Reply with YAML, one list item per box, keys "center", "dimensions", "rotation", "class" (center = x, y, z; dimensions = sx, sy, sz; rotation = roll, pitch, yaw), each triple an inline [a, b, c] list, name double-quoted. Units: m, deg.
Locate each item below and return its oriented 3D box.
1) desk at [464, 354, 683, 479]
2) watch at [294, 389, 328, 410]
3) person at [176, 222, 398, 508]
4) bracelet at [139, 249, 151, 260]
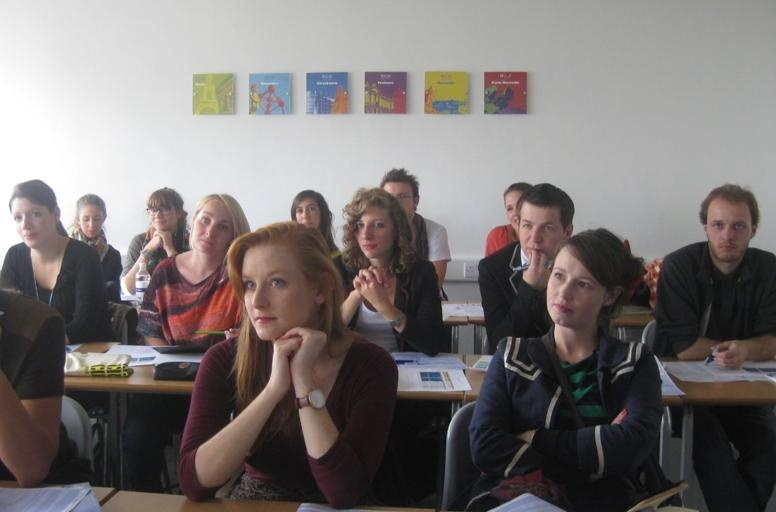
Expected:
- center: [0.696, 0.705, 2.513]
  dimensions: [0.829, 0.778, 0.485]
  rotation: [-1, -26, 9]
  class: "desk"
- center: [-0.266, 0.505, 2.059]
  dimensions: [0.088, 0.058, 0.091]
  rotation: [-18, -7, 39]
  class: "watch"
- center: [-0.358, 0.421, 2.119]
  dimensions: [0.769, 1.067, 0.378]
  rotation: [-1, 9, 2]
  class: "person"
- center: [-1.965, -0.020, 4.774]
  dimensions: [0.071, 0.070, 0.023]
  rotation: [-3, -6, 15]
  class: "bracelet"
